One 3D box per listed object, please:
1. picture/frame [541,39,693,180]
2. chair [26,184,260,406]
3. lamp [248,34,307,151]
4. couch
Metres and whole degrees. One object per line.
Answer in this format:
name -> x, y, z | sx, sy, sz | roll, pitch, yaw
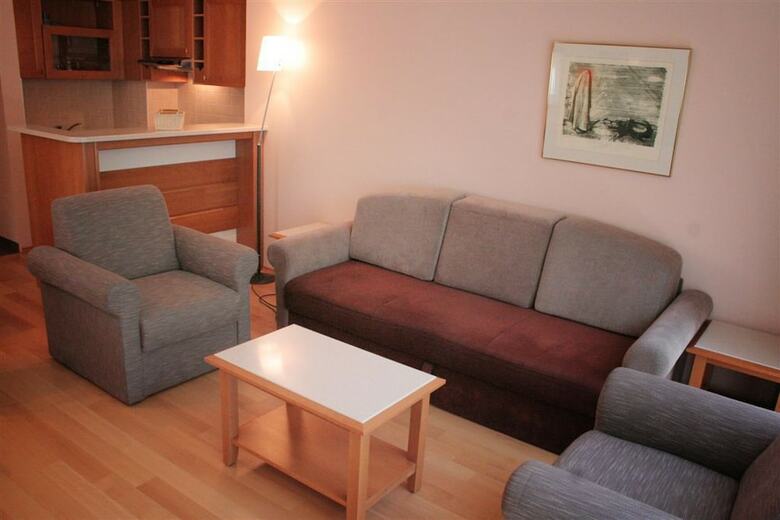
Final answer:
picture/frame -> 1.630, -1.078, 3.976 | 1.019, 0.863, 0.038 | 16, 24, 24
chair -> -1.678, 0.173, 3.993 | 1.145, 1.208, 0.998 | 18, 23, 30
lamp -> -1.158, -1.588, 5.362 | 0.546, 1.043, 0.404 | 21, 25, 35
couch -> 0.585, 0.287, 4.107 | 2.955, 1.081, 1.137 | 15, 30, 33
